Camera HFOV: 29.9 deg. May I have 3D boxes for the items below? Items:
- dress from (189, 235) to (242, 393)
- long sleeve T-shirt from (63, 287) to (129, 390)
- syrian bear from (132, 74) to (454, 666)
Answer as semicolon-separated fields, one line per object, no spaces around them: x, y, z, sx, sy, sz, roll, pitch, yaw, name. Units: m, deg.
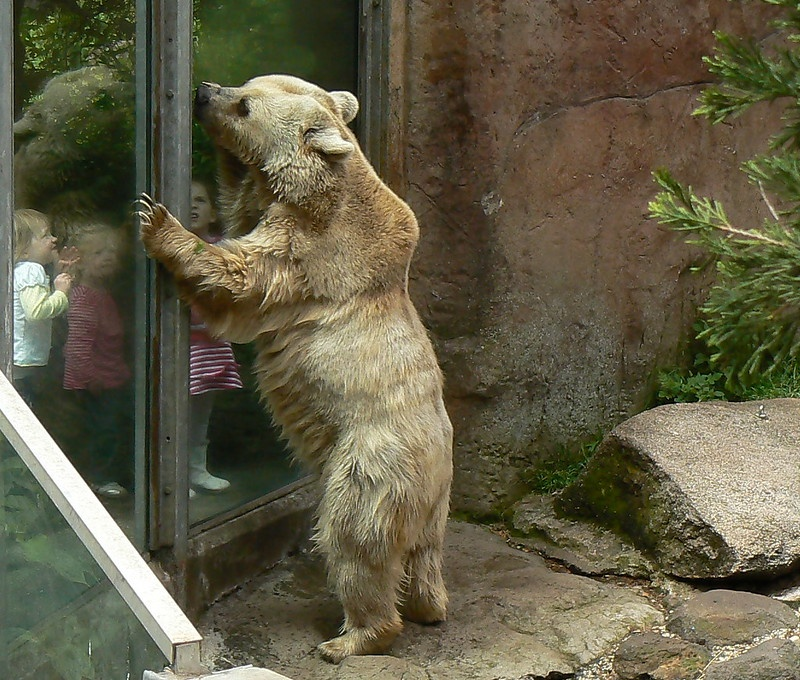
-0.845;-0.101;6.867;0.313;0.636;0.204;-1;5;-6;dress
-1.288;-0.015;6.254;0.196;0.341;0.390;2;7;16;long sleeve T-shirt
-0.418;0.165;6.787;1.251;2.647;1.076;4;5;45;syrian bear
